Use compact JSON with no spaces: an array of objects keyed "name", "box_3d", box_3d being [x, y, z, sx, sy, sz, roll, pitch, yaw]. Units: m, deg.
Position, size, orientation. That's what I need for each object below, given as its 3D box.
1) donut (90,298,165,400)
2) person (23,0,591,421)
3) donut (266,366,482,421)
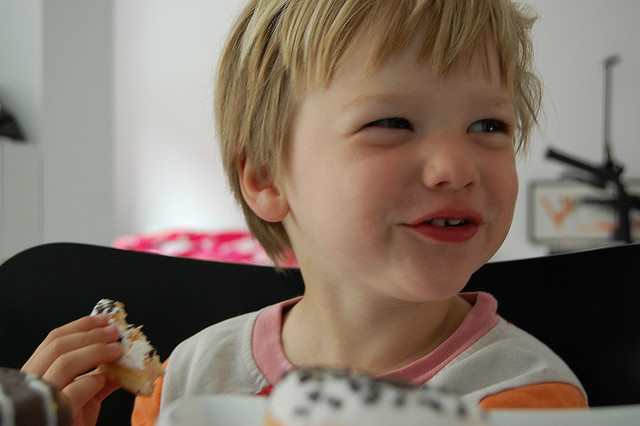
[{"name":"donut","box_3d":[-0.378,0.288,1.309,0.167,0.051,0.168,47,9,-1]},{"name":"person","box_3d":[-0.114,-0.031,1.484,1.187,1.082,0.632,0,-8,-8]},{"name":"donut","box_3d":[0.067,0.245,0.818,0.292,0.066,0.044,1,3,7]}]
